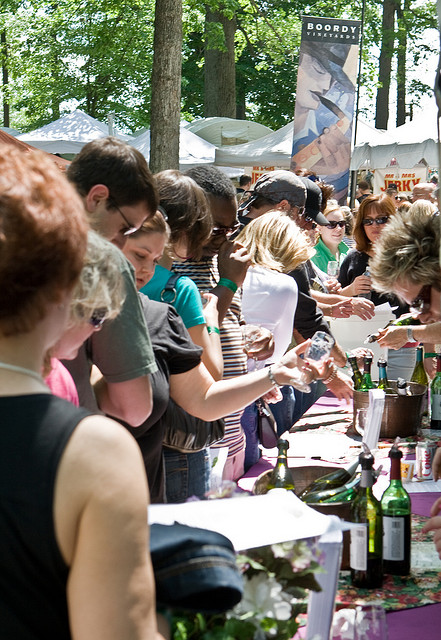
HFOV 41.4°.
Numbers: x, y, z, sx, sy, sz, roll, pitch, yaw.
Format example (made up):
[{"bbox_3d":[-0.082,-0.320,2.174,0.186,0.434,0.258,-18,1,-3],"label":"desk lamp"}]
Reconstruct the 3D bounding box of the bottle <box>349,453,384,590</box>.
[{"bbox_3d":[0.407,0.604,1.613,0.095,0.247,0.203,2,7,15],"label":"bottle"}]

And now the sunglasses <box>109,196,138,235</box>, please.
[{"bbox_3d":[-0.269,-0.292,1.606,0.029,0.085,0.089,-23,-12,13],"label":"sunglasses"}]

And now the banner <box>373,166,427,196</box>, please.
[{"bbox_3d":[4.287,-3.339,13.921,0.445,0.723,1.589,-3,7,-25],"label":"banner"}]

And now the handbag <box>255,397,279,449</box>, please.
[{"bbox_3d":[0.218,0.492,2.774,0.107,0.277,0.125,0,8,3],"label":"handbag"}]

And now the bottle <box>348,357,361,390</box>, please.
[{"bbox_3d":[0.747,0.286,3.237,0.069,0.154,0.260,2,7,13],"label":"bottle"}]

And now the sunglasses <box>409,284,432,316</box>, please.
[{"bbox_3d":[0.837,-0.078,2.410,0.039,0.100,0.090,10,-19,8],"label":"sunglasses"}]

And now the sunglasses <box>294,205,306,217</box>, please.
[{"bbox_3d":[0.499,-0.674,3.615,0.042,0.068,0.056,-5,15,-28],"label":"sunglasses"}]

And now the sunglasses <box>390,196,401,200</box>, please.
[{"bbox_3d":[3.092,-2.122,10.196,0.143,0.037,0.136,-1,-1,36],"label":"sunglasses"}]

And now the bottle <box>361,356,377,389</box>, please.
[{"bbox_3d":[0.790,0.278,3.095,0.073,0.193,0.227,2,7,15],"label":"bottle"}]

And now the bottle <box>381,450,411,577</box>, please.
[{"bbox_3d":[0.518,0.540,1.704,0.091,0.352,0.159,2,8,17],"label":"bottle"}]

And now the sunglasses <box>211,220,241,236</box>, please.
[{"bbox_3d":[0.013,-0.413,2.642,0.100,0.089,0.026,3,46,-34],"label":"sunglasses"}]

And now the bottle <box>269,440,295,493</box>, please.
[{"bbox_3d":[0.186,0.443,1.745,0.074,0.200,0.177,1,7,7],"label":"bottle"}]
